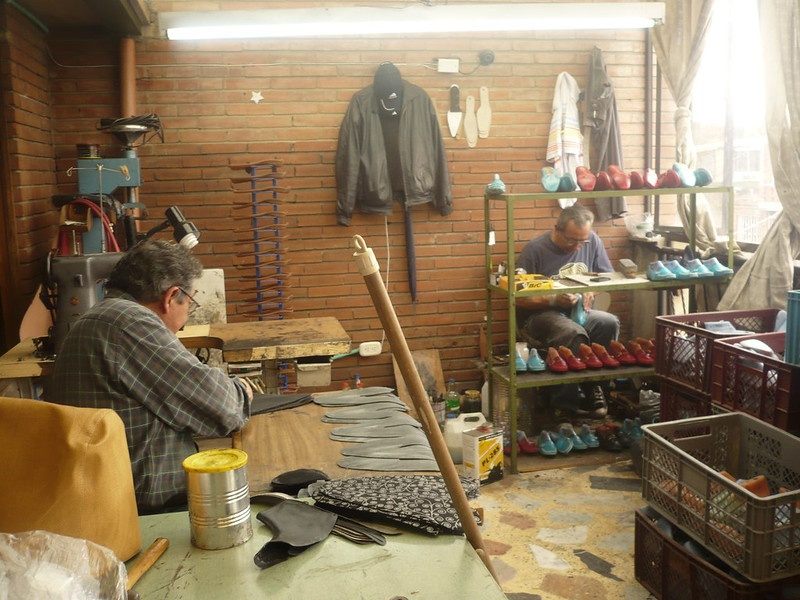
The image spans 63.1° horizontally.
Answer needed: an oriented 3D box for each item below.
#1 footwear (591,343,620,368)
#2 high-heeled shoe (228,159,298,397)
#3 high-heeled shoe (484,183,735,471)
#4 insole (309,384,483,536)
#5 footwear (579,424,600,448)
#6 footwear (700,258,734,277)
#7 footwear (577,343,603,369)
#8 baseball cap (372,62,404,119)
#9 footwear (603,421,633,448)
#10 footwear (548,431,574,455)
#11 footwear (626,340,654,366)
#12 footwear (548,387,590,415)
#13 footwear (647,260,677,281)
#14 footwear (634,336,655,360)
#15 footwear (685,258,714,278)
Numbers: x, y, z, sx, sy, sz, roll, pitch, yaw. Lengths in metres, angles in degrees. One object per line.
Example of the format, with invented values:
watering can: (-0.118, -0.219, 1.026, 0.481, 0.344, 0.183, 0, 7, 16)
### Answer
footwear: (1.501, 0.402, 4.826, 0.113, 0.078, 0.245, -17, 34, -33)
high-heeled shoe: (-1.121, -0.095, 5.148, 0.700, 1.982, 0.496, 0, 16, -18)
high-heeled shoe: (1.439, 0.047, 5.418, 2.375, 1.922, 1.374, 1, 12, -11)
insole: (-0.040, 0.574, 2.354, 0.530, 0.257, 1.041, -5, 6, -3)
footwear: (1.397, 0.998, 4.830, 0.098, 0.083, 0.237, -5, 12, -11)
footwear: (2.257, -0.234, 4.714, 0.231, 0.074, 0.105, 16, 10, 41)
footwear: (1.372, 0.416, 4.784, 0.106, 0.079, 0.238, -12, 22, -19)
baseball cap: (-0.090, -1.716, 5.298, 0.257, 0.423, 0.139, -8, 7, -6)
footwear: (1.573, 1.002, 4.809, 0.204, 0.071, 0.226, -4, 13, -14)
footwear: (1.164, 1.034, 4.766, 0.101, 0.056, 0.182, -43, 31, -1)
footwear: (1.785, 0.389, 4.832, 0.133, 0.087, 0.263, -8, 14, -9)
footwear: (1.356, 0.793, 5.349, 0.336, 0.239, 0.204, -5, 1, -8)
footwear: (1.868, -0.211, 4.691, 0.191, 0.134, 0.130, -3, 7, 14)
footwear: (1.834, 0.357, 4.888, 0.103, 0.080, 0.232, -7, 18, -17)
footwear: (2.136, -0.227, 4.669, 0.167, 0.125, 0.094, -4, 7, 9)
